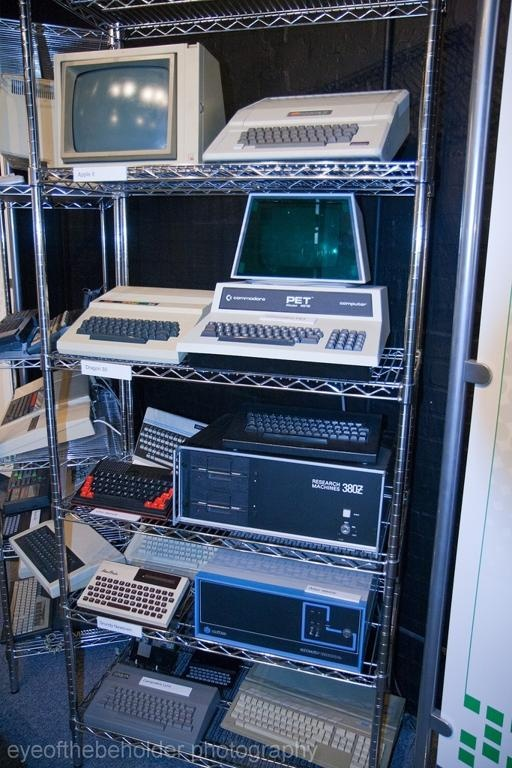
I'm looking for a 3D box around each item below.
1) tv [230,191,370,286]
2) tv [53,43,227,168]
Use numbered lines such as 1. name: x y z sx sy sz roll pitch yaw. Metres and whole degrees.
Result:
1. tv: 0.113 -0.417 1.542 0.335 0.224 0.207 4 33 3
2. tv: -0.312 -0.685 1.565 0.414 0.305 0.281 2 5 13
